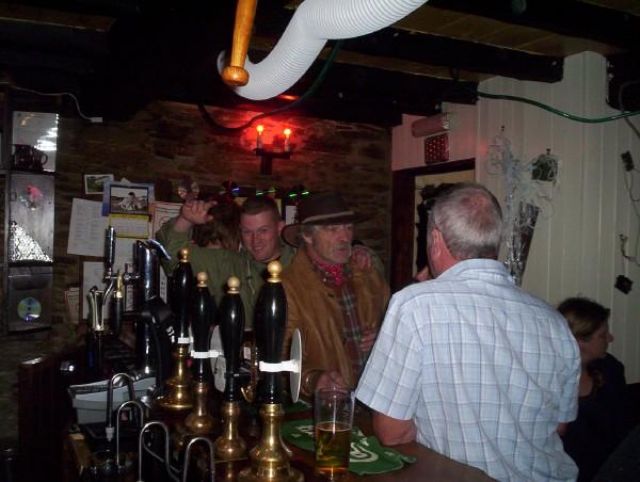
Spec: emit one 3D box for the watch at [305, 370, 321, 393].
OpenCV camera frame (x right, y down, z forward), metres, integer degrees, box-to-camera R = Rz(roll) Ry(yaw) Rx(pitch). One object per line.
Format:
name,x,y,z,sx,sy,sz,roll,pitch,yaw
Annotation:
watch,-0.034,0.618,2.516,0.090,0.082,0.083,2,-6,6

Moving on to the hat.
hat,0.023,-0.173,4.188,0.567,0.228,0.627,-2,-8,-3

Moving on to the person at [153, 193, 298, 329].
person,-0.609,0.121,3.680,0.647,0.830,0.967,1,-1,16
